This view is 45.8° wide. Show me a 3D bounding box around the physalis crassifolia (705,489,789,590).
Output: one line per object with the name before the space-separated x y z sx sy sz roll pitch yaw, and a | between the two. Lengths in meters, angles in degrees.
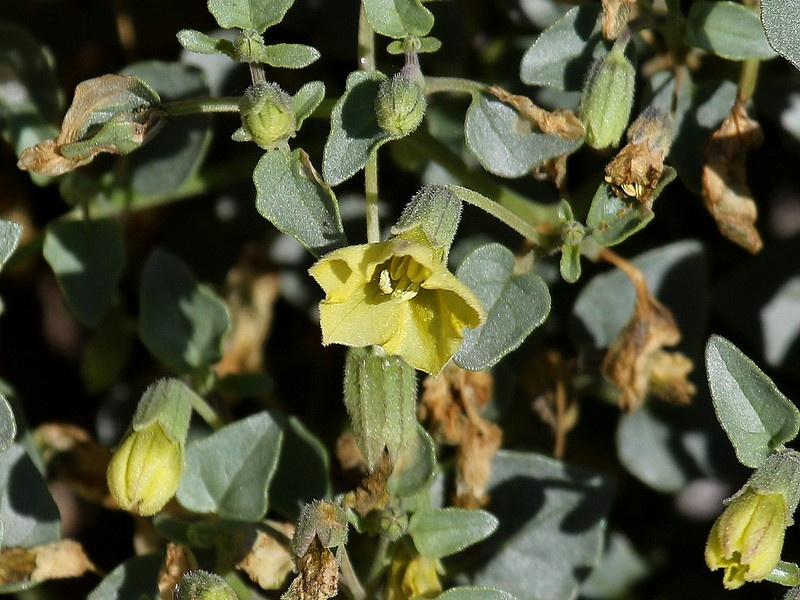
physalis crassifolia | 0.792 0.529 2.174 0.135 0.094 0.254 30 67 -6

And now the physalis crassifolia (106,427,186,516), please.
physalis crassifolia | -0.588 0.393 2.207 0.140 0.103 0.197 17 44 19
